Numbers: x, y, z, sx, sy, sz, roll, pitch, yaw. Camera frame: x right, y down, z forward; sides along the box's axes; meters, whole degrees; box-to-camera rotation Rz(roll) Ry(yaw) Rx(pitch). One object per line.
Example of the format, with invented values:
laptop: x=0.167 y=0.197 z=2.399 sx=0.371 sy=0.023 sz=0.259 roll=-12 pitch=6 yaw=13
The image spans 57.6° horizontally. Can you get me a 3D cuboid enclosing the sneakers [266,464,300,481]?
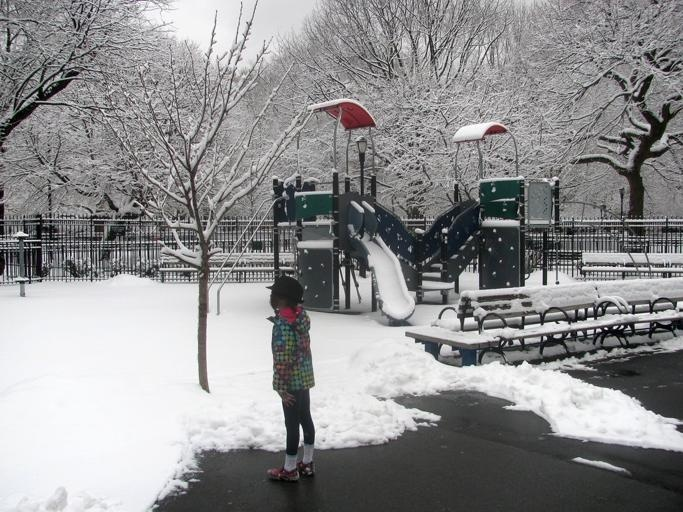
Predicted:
sneakers: x=-0.640 y=2.368 z=6.780 sx=0.343 sy=0.178 sz=0.140 roll=4 pitch=0 yaw=8

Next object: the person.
person: x=-0.553 y=1.324 z=6.741 sx=0.494 sy=2.169 sz=0.479 roll=0 pitch=8 yaw=-1

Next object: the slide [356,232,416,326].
slide: x=1.010 y=0.629 z=14.701 sx=0.746 sy=0.701 sz=2.861 roll=4 pitch=36 yaw=-16

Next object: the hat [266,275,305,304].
hat: x=-0.614 y=0.382 z=6.723 sx=0.334 sy=0.188 sz=0.255 roll=28 pitch=18 yaw=20
